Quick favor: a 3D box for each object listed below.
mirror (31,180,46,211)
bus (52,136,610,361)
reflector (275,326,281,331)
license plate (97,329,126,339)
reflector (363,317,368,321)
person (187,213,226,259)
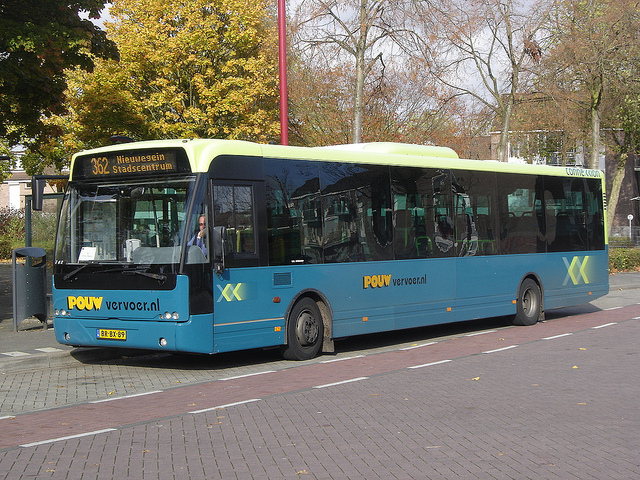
[{"bbox_3d":[-6.128,-0.956,12.318,0.248,0.625,1.190,0,-2,-25],"label":"mirror"},{"bbox_3d":[1.661,0.109,13.635,12.449,4.253,3.334,-1,-1,-36],"label":"bus"},{"bbox_3d":[-0.710,1.539,9.753,0.099,0.072,0.055,-2,5,-26],"label":"reflector"},{"bbox_3d":[-3.402,1.545,9.250,0.615,0.151,0.009,-1,-1,24],"label":"license plate"},{"bbox_3d":[0.913,1.542,11.099,0.097,0.070,0.052,-3,7,-40],"label":"reflector"},{"bbox_3d":[-1.811,-0.046,8.937,0.507,0.779,0.272,-11,-13,19],"label":"person"}]
